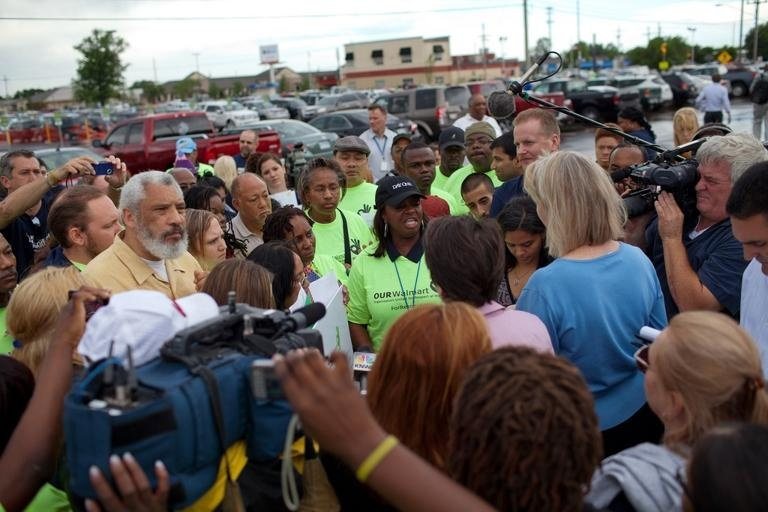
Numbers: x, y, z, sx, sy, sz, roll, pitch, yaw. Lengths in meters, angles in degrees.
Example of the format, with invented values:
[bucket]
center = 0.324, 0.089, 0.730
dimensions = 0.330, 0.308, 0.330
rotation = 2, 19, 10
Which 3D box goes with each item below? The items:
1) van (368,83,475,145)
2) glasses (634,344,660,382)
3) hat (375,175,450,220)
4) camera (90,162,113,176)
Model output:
[van]
center = 1.018, -4.987, 21.919
dimensions = 3.793, 1.585, 2.195
rotation = 11, 22, 25
[glasses]
center = 1.190, 0.489, 2.810
dimensions = 0.137, 0.042, 0.130
rotation = 24, 16, 13
[hat]
center = 0.040, -0.478, 4.885
dimensions = 0.470, 0.349, 0.726
rotation = -9, 11, -40
[camera]
center = -2.515, -0.783, 5.497
dimensions = 0.051, 0.146, 0.219
rotation = 7, 5, 39
